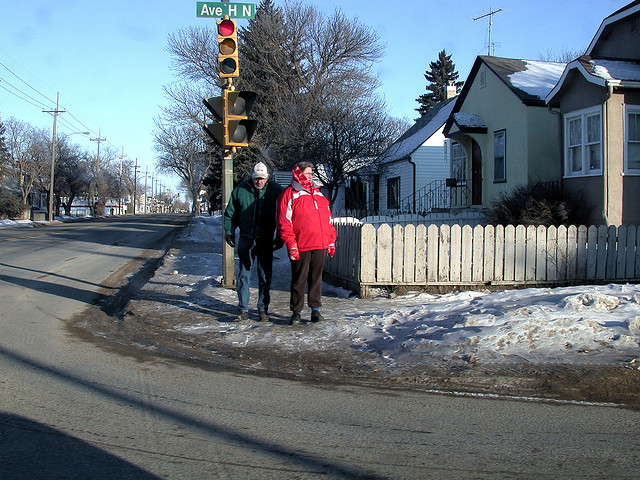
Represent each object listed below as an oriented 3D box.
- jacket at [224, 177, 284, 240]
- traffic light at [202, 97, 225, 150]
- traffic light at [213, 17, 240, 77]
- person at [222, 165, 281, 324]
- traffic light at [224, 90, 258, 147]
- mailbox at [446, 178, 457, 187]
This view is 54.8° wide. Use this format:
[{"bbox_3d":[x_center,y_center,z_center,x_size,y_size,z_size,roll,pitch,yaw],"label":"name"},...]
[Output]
[{"bbox_3d":[-1.020,-0.469,9.420,0.986,0.934,0.428,1,-5,-8],"label":"jacket"},{"bbox_3d":[-1.926,-2.070,11.010,0.369,0.906,0.479,-2,8,-10],"label":"traffic light"},{"bbox_3d":[-1.669,-3.413,10.950,0.382,1.049,0.453,-2,8,-10],"label":"traffic light"},{"bbox_3d":[-1.033,0.015,9.322,0.823,2.279,0.837,-1,7,-3],"label":"person"},{"bbox_3d":[-1.413,-2.130,10.834,0.496,0.952,0.513,0,0,34],"label":"traffic light"},{"bbox_3d":[5.252,-2.303,24.536,0.321,0.254,0.335,0,12,-2],"label":"mailbox"}]
